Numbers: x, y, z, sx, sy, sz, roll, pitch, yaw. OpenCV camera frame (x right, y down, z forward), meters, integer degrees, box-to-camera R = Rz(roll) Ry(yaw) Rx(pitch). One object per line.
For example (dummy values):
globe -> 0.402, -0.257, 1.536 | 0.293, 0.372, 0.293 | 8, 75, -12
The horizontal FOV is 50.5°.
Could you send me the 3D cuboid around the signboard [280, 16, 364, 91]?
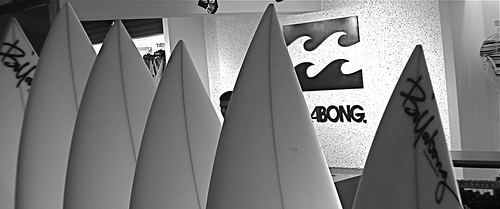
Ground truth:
signboard -> 1.411, -1.030, 10.124 | 1.444, 0.940, 1.087 | -8, -8, 10
